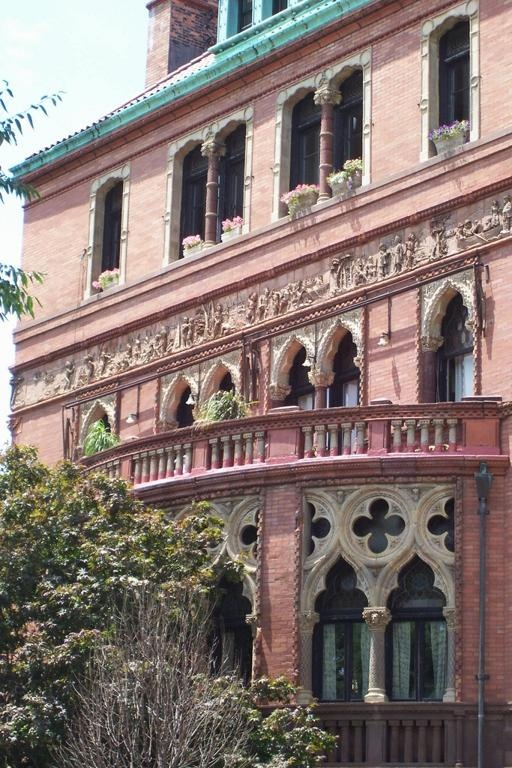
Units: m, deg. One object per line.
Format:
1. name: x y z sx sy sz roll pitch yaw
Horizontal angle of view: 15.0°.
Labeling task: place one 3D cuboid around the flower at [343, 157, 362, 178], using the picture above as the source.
1. flower: 1.616 -3.610 32.281 0.309 0.374 0.341 0 -16 1

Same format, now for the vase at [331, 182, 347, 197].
1. vase: 1.403 -3.257 32.342 0.207 0.262 0.373 0 -2 -30

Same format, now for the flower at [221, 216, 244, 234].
1. flower: -0.406 -2.892 34.764 0.308 0.209 0.356 -16 -18 30

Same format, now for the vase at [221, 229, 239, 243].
1. vase: -0.449 -2.662 34.575 0.276 0.117 0.272 -6 -14 -32

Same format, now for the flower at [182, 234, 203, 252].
1. flower: -1.162 -2.584 35.635 0.238 0.344 0.333 -4 8 -45

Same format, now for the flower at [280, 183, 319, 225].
1. flower: 0.766 -3.095 33.014 0.209 0.597 0.732 14 -21 -39

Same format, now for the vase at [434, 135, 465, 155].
1. vase: 3.023 -3.711 30.363 0.259 0.175 0.401 5 -15 -32

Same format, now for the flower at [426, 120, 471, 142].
1. flower: 3.034 -3.964 30.398 0.477 0.169 0.340 -16 -7 21
